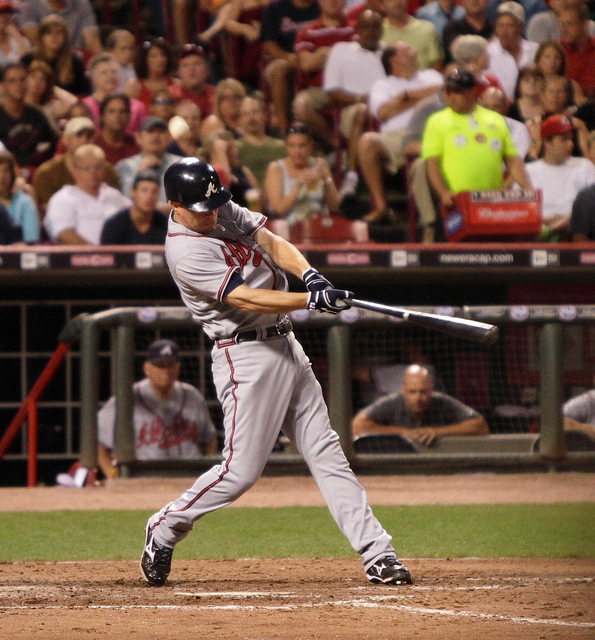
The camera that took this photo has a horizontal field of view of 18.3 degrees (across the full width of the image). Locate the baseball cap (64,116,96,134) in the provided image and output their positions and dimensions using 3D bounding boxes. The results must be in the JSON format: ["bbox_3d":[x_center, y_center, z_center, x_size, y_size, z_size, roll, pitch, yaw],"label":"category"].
[{"bbox_3d":[-1.443,-1.299,12.218,0.206,0.103,0.224,-3,10,-18],"label":"baseball cap"}]

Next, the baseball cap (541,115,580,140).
[{"bbox_3d":[1.722,-1.298,12.216,0.186,0.081,0.138,-13,11,16],"label":"baseball cap"}]

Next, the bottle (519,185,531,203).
[{"bbox_3d":[1.448,-0.811,11.693,0.024,0.103,0.106,4,6,17],"label":"bottle"}]

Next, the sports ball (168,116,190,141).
[{"bbox_3d":[-0.821,-1.318,12.563,0.163,0.162,0.114,3,10,18],"label":"sports ball"}]

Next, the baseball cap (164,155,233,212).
[{"bbox_3d":[-0.482,-0.653,8.785,0.315,0.240,0.259,0,9,0],"label":"baseball cap"}]

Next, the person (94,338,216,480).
[{"bbox_3d":[-0.907,0.577,11.461,0.703,0.981,0.515,-2,-10,-21],"label":"person"}]

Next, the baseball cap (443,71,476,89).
[{"bbox_3d":[1.053,-1.530,11.650,0.127,0.054,0.102,0,-16,-9],"label":"baseball cap"}]

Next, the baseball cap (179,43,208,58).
[{"bbox_3d":[-0.767,-2.024,13.572,0.201,0.073,0.235,0,-1,7],"label":"baseball cap"}]

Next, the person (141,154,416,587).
[{"bbox_3d":[-0.168,0.240,8.839,1.148,2.014,0.577,0,9,2],"label":"person"}]

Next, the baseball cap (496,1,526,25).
[{"bbox_3d":[1.585,-2.293,13.574,0.206,0.174,0.215,5,-1,0],"label":"baseball cap"}]

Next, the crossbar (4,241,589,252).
[{"bbox_3d":[0.090,-0.481,11.842,3.607,0.071,0.255,-1,9,-4],"label":"crossbar"}]
